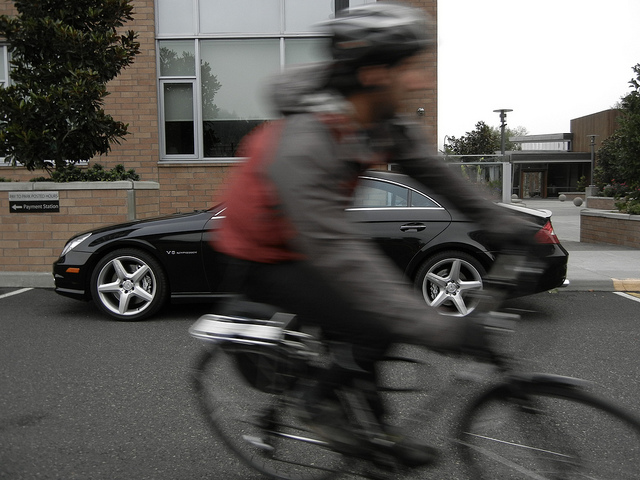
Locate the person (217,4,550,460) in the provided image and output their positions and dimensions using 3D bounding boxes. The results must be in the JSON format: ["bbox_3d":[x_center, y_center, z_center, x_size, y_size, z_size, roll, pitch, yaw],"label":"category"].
[{"bbox_3d":[0.093,-0.011,1.972,1.127,1.808,0.528,2,8,21],"label":"person"}]

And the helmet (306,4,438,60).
[{"bbox_3d":[0.229,-0.794,1.859,0.369,0.121,0.234,4,31,1],"label":"helmet"}]

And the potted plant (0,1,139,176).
[{"bbox_3d":[-4.517,-2.689,8.567,2.068,3.092,0.917,-3,8,-20],"label":"potted plant"}]

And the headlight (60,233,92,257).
[{"bbox_3d":[-3.030,0.053,6.051,0.404,0.277,0.124,1,7,13],"label":"headlight"}]
